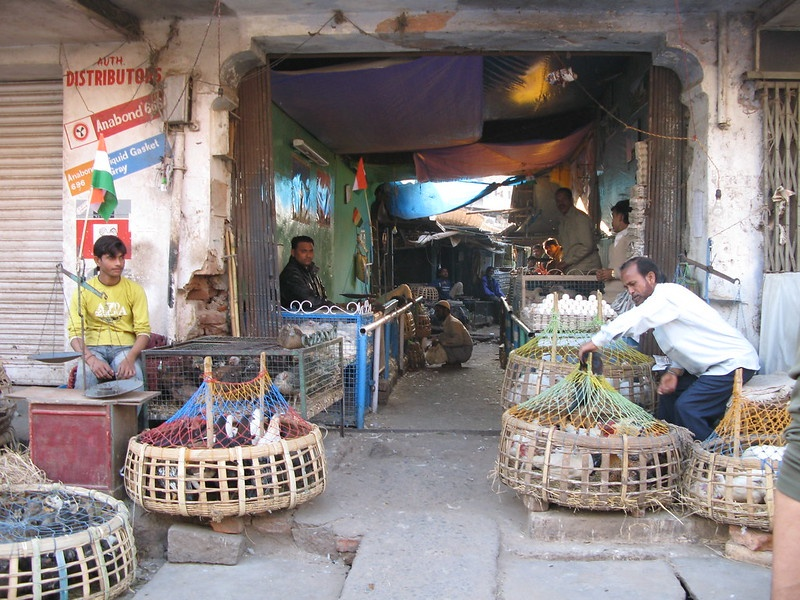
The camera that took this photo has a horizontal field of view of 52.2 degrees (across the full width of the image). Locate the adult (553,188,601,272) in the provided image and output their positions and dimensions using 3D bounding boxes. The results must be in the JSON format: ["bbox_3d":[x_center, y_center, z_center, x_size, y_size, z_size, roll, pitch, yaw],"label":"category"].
[{"bbox_3d":[2.241,-0.870,10.232,0.442,0.474,1.318,-6,28,-15],"label":"adult"}]

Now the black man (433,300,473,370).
[{"bbox_3d":[0.710,0.468,11.099,0.621,0.876,0.635,2,1,-29],"label":"black man"}]

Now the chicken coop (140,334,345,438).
[{"bbox_3d":[-1.252,0.568,6.441,0.941,0.572,0.900,0,3,-7],"label":"chicken coop"}]

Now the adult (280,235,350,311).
[{"bbox_3d":[-0.936,-0.230,8.636,0.600,0.821,0.630,-8,15,-32],"label":"adult"}]

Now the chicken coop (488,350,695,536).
[{"bbox_3d":[1.277,0.869,5.678,1.157,0.923,1.148,0,2,-8],"label":"chicken coop"}]

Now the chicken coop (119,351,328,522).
[{"bbox_3d":[-1.196,0.850,5.774,1.225,0.831,1.217,-1,2,4],"label":"chicken coop"}]

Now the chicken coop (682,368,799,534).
[{"bbox_3d":[2.433,1.133,5.846,0.705,1.095,1.103,3,-6,13],"label":"chicken coop"}]

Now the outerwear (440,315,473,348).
[{"bbox_3d":[0.766,0.477,11.046,0.368,0.448,0.520,-4,-3,7],"label":"outerwear"}]

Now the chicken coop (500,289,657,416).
[{"bbox_3d":[1.469,0.438,6.740,1.051,0.770,1.018,-1,3,8],"label":"chicken coop"}]

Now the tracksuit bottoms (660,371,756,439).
[{"bbox_3d":[2.284,0.764,6.306,0.397,0.671,0.179,7,-8,-5],"label":"tracksuit bottoms"}]

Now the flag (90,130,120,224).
[{"bbox_3d":[-2.302,-0.929,6.335,0.186,0.605,0.336,1,8,-21],"label":"flag"}]

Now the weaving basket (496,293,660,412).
[{"bbox_3d":[1.459,0.474,6.715,1.050,0.771,1.018,-1,4,11],"label":"weaving basket"}]

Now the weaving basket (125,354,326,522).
[{"bbox_3d":[-1.200,0.832,5.779,1.221,0.848,1.215,-1,1,7],"label":"weaving basket"}]

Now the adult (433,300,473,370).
[{"bbox_3d":[0.784,0.485,11.433,0.759,1.175,0.812,0,-6,10],"label":"adult"}]

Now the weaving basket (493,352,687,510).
[{"bbox_3d":[1.297,0.780,5.786,1.125,0.896,1.114,0,6,1],"label":"weaving basket"}]
